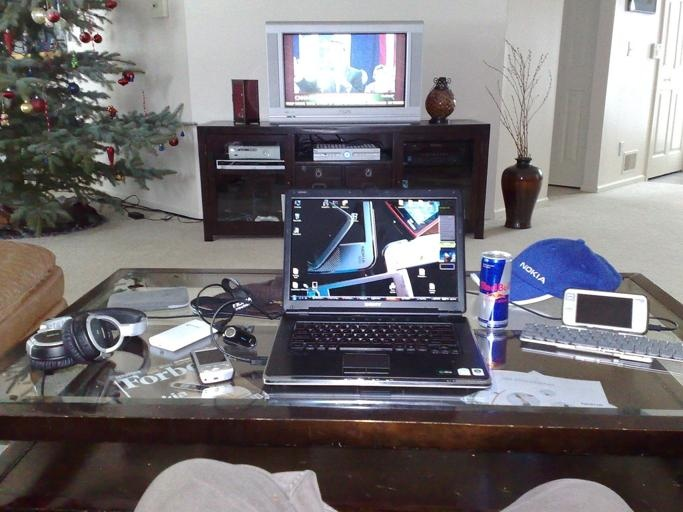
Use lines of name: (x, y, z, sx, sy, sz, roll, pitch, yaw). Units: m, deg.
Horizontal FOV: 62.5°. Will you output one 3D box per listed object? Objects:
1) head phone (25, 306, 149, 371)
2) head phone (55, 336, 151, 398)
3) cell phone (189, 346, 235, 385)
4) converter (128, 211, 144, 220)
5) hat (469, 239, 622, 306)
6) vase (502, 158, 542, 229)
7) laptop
head phone: (-0.549, 0.145, 1.236, 0.147, 0.061, 0.174, 4, 15, 15)
head phone: (-0.502, 0.242, 1.200, 0.097, 0.043, 0.124, 25, 41, 35)
cell phone: (-0.275, 0.231, 1.195, 0.074, 0.039, 0.107, -6, 15, -21)
converter: (-1.592, -0.310, 4.334, 0.135, 0.040, 0.110, -3, 14, -10)
hat: (0.554, 0.071, 1.478, 0.300, 0.094, 0.196, -5, 34, -15)
vase: (1.276, -0.478, 4.058, 0.325, 0.551, 0.319, 5, 23, 21)
laptop: (0.087, 0.079, 1.276, 0.424, 0.293, 0.437, 0, 24, 2)
